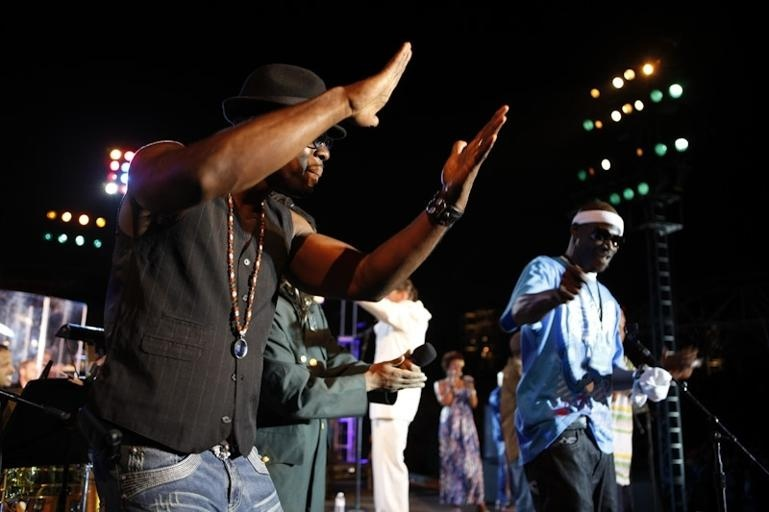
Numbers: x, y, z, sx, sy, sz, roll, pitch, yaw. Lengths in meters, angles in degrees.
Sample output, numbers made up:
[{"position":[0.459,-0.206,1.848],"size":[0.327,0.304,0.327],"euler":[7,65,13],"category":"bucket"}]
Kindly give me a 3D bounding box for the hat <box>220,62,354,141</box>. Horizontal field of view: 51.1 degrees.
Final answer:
[{"position":[-0.883,-1.347,6.966],"size":[1.089,0.527,0.974],"euler":[0,-7,12],"category":"hat"}]

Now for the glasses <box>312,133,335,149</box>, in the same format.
[{"position":[-0.517,-0.953,6.708],"size":[0.137,0.056,0.147],"euler":[-16,18,21],"category":"glasses"}]
